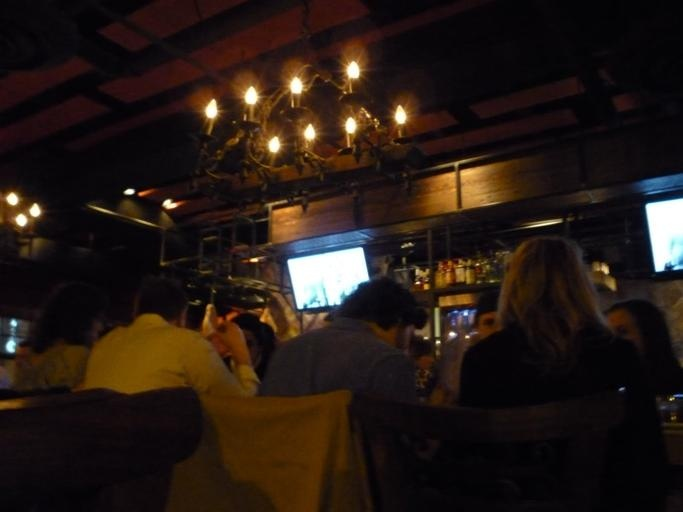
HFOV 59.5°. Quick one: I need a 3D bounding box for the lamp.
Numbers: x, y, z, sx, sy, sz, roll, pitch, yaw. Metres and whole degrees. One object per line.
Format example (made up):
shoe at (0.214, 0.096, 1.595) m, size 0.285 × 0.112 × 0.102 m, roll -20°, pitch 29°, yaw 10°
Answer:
lamp at (-0.273, -0.802, 3.792) m, size 1.405 × 0.745 × 0.939 m, roll 0°, pitch -1°, yaw 38°
